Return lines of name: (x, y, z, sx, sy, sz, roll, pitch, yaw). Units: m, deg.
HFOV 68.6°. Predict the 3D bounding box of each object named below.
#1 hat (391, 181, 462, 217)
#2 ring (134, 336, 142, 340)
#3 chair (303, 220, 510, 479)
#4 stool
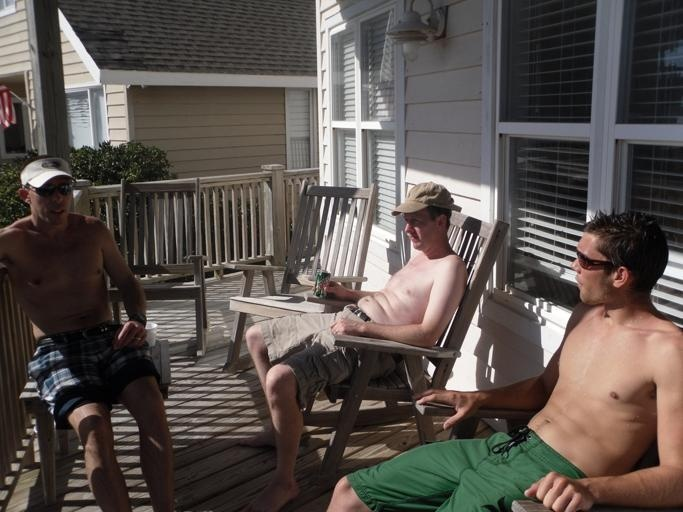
hat: (0.458, -0.301, 2.767, 0.282, 0.134, 0.190, 2, 3, -13)
ring: (-0.981, 0.403, 2.416, 0.019, 0.005, 0.020, 1, 42, -1)
chair: (0.420, 0.461, 3.202, 1.252, 1.812, 1.242, 3, 0, -1)
stool: (-1.319, 0.867, 2.907, 0.768, 0.736, 0.749, -11, 20, -26)
